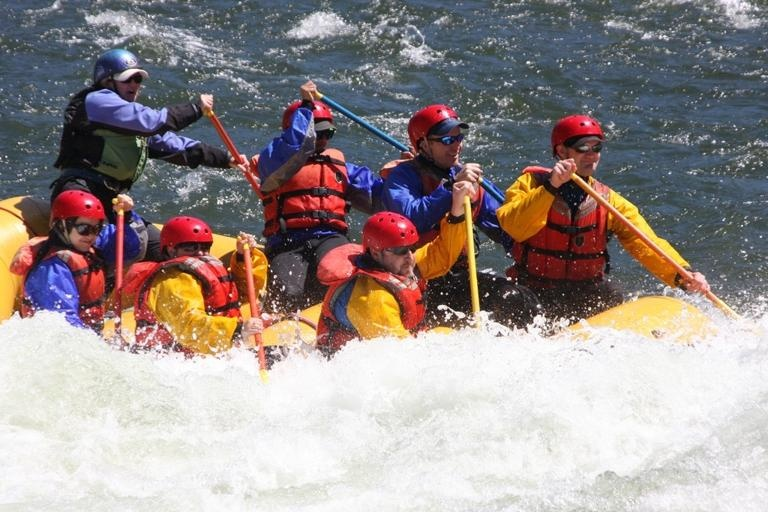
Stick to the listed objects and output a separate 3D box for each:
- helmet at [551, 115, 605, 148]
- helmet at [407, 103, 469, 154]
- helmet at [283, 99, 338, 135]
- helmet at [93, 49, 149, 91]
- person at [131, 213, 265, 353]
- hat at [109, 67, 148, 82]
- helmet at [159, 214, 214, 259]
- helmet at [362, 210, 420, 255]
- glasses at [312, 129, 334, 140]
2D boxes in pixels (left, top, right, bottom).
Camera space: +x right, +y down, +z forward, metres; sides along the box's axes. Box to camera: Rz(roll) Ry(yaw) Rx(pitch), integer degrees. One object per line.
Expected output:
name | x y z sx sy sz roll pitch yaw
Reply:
helmet | 1.994 -1.325 13.248 0.503 0.282 0.383 23 -1 1
helmet | 0.590 -1.451 13.516 0.485 0.329 0.703 -21 7 -36
helmet | -0.937 -1.515 14.033 0.541 0.377 0.401 -19 -11 34
helmet | -2.906 -2.094 13.879 0.617 0.286 0.457 5 17 42
person | -1.902 0.299 12.391 1.285 1.251 0.940 -1 12 -12
hat | -2.768 -1.989 13.852 0.168 0.149 0.418 11 14 37
helmet | -2.000 -0.163 12.767 0.453 0.412 0.587 -3 3 -39
helmet | 0.062 -0.215 12.243 0.606 0.403 0.438 11 17 34
glasses | -0.683 -1.345 13.898 0.142 0.128 0.040 9 -6 -17
